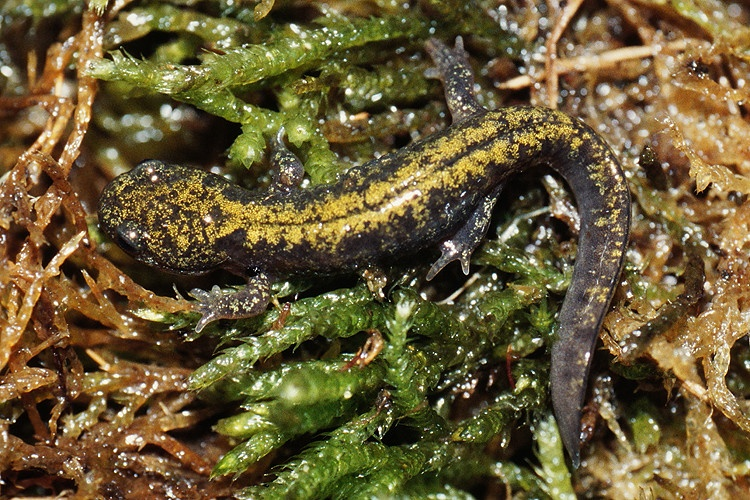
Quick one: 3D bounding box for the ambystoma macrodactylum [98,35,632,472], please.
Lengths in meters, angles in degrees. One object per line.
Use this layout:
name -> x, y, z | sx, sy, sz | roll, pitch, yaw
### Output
ambystoma macrodactylum -> 0.042, -0.017, 5.359 | 3.657, 0.639, 3.131 | -1, 76, -7
